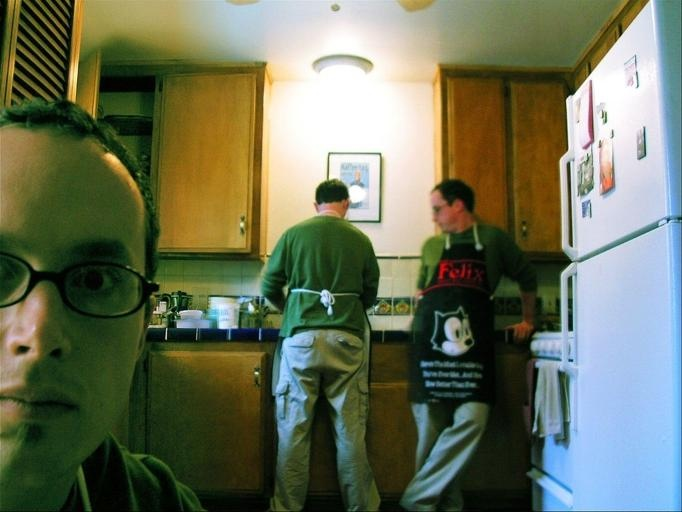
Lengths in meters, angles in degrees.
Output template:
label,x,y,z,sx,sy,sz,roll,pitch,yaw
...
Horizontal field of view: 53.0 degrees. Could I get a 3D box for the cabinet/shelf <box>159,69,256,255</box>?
label,x,y,z,sx,sy,sz,roll,pitch,yaw
cabinet/shelf,-0.599,-0.448,3.005,0.436,0.823,0.397,2,24,-8

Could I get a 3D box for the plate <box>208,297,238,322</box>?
label,x,y,z,sx,sy,sz,roll,pitch,yaw
plate,-0.437,0.206,2.544,0.091,0.102,0.177,1,3,8

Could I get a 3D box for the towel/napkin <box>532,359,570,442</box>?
label,x,y,z,sx,sy,sz,roll,pitch,yaw
towel/napkin,0.612,0.426,2.025,0.056,0.208,0.104,6,-9,-32

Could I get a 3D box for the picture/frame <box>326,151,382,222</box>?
label,x,y,z,sx,sy,sz,roll,pitch,yaw
picture/frame,0.062,-0.275,2.758,0.305,0.423,0.014,0,-15,-2
